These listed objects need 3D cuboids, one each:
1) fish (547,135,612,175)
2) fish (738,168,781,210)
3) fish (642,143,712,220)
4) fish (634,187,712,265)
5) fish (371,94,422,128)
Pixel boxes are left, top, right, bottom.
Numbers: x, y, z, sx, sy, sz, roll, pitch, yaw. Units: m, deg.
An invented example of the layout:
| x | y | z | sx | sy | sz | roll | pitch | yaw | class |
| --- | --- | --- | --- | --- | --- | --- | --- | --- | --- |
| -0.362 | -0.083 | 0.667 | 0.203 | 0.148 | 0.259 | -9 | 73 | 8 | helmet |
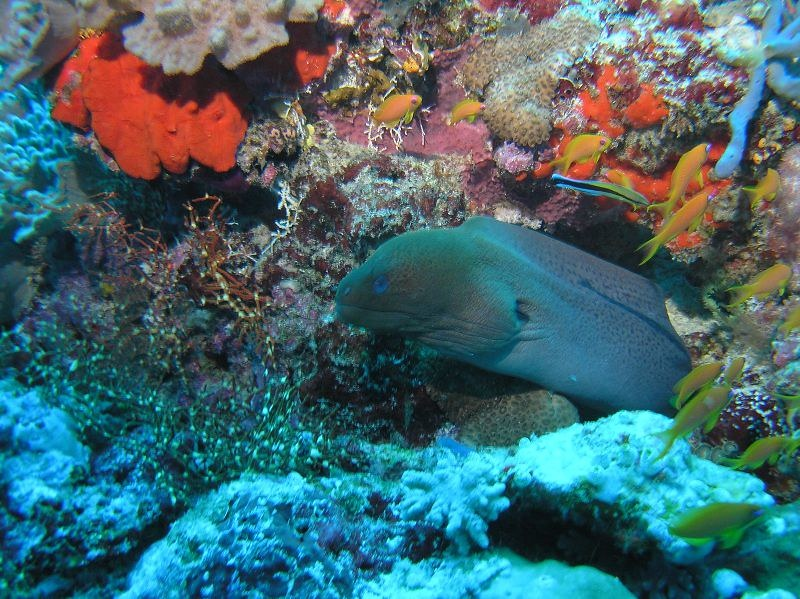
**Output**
| x | y | z | sx | sy | sz | roll | pitch | yaw | class |
| --- | --- | --- | --- | --- | --- | --- | --- | --- | --- |
| 1.314 | -1.061 | 5.209 | 0.173 | 0.302 | 0.089 | 41 | 24 | -38 | fish |
| 2.510 | -0.778 | 5.018 | 0.224 | 0.288 | 0.167 | 29 | 39 | 23 | fish |
| 1.968 | -0.861 | 5.075 | 0.238 | 0.549 | 0.104 | 25 | 9 | -15 | fish |
| 1.987 | -0.561 | 5.212 | 0.226 | 0.611 | 0.113 | 43 | 5 | -14 | fish |
| -0.020 | -1.375 | 5.219 | 0.186 | 0.288 | 0.212 | 53 | 17 | -43 | fish |
